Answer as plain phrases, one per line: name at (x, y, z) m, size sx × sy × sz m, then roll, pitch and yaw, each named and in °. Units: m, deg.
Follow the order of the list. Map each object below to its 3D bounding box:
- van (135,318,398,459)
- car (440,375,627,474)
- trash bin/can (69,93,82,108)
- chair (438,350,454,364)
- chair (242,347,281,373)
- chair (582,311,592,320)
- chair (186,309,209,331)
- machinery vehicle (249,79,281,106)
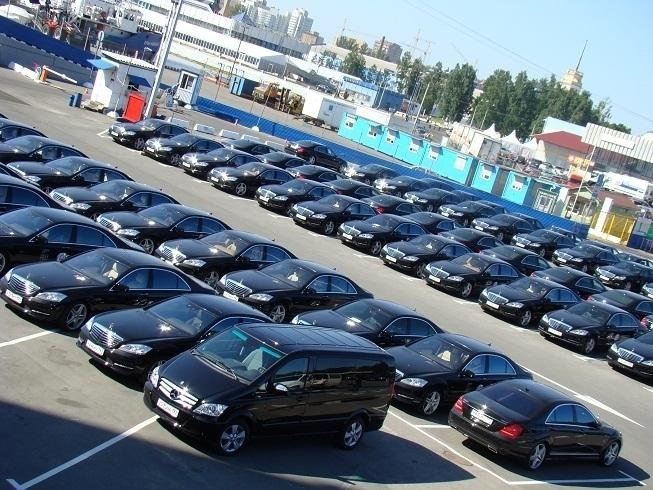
van at (-1.096, 2.598, 12.439) m, size 4.522 × 2.038 × 1.717 m, roll 6°, pitch 15°, yaw -35°
car at (5.179, 3.958, 15.185) m, size 4.067 × 1.508 × 1.466 m, roll 8°, pitch 13°, yaw -26°
trash bin/can at (-17.012, -8.922, 41.674) m, size 0.786 × 0.849 × 1.103 m, roll 12°, pitch 10°, yaw -22°
chair at (3.182, 2.612, 16.396) m, size 0.357 × 0.174 × 0.273 m, roll 18°, pitch 11°, yaw 27°
chair at (-1.264, 1.955, 11.892) m, size 0.625 × 0.349 × 0.385 m, roll 15°, pitch 10°, yaw 8°
chair at (10.910, 2.577, 25.792) m, size 0.249 × 0.111 × 0.367 m, roll 12°, pitch 19°, yaw 23°
chair at (-2.842, 1.448, 13.667) m, size 0.357 × 0.343 × 0.507 m, roll 23°, pitch 17°, yaw 33°
machinery vehicle at (-8.020, -18.119, 80.866) m, size 3.025 × 2.773 × 3.642 m, roll 19°, pitch 11°, yaw 18°
